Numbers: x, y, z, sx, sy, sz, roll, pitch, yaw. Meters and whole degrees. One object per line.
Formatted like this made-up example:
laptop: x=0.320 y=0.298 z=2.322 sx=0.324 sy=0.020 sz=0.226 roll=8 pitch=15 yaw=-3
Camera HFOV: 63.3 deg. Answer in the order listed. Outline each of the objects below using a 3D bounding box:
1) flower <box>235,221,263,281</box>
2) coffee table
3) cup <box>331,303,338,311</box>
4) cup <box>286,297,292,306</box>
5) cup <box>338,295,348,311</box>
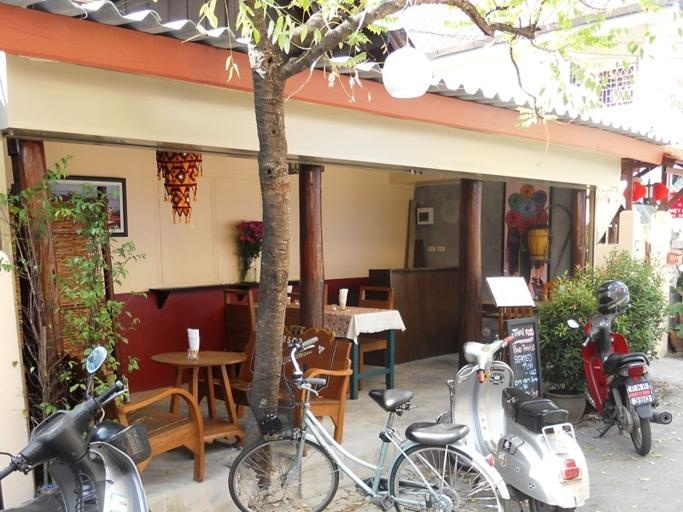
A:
flower: x=-1.433 y=-0.080 z=8.680 sx=0.426 sy=0.958 sz=0.284 roll=-5 pitch=5 yaw=-25
coffee table: x=-1.365 y=1.370 z=5.671 sx=0.886 sy=0.999 sz=1.033 roll=-2 pitch=-3 yaw=34
cup: x=-0.099 y=0.749 z=7.980 sx=0.063 sy=0.068 sz=0.066 roll=-1 pitch=3 yaw=0
cup: x=-0.791 y=0.684 z=8.309 sx=0.124 sy=0.149 sz=0.130 roll=0 pitch=-1 yaw=0
cup: x=0.038 y=0.671 z=7.931 sx=0.153 sy=0.257 sz=0.160 roll=1 pitch=5 yaw=0
